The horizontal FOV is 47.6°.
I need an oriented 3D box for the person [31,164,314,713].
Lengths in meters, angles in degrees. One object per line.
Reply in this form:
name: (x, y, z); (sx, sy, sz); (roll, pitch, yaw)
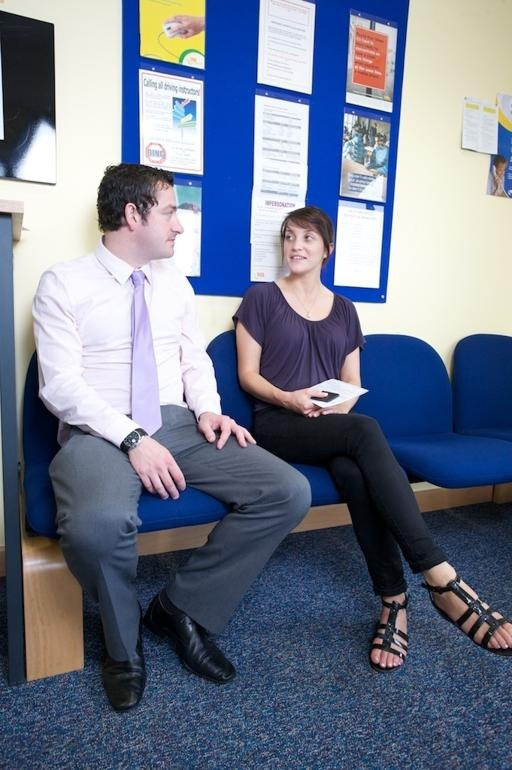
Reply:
person: (-0.223, 0.031, 1.408); (0.561, 1.164, 0.585); (-2, 8, -27)

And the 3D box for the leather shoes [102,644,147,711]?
leather shoes: (-0.270, 0.605, 1.195); (0.088, 0.065, 0.114); (0, 7, -17)

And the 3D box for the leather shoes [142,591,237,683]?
leather shoes: (-0.150, 0.568, 1.351); (0.271, 0.119, 0.099); (36, 29, 21)

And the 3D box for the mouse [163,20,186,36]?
mouse: (-0.244, -1.064, 1.734); (0.052, 0.042, 0.022); (-28, 25, -33)

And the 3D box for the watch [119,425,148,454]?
watch: (-0.268, 0.120, 1.287); (0.053, 0.019, 0.052); (-36, 21, 35)

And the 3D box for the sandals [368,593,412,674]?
sandals: (0.299, 0.579, 1.328); (0.058, 0.068, 0.181); (-1, 1, 16)
